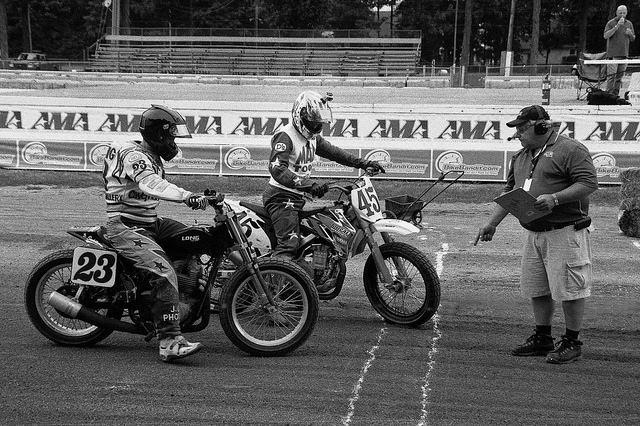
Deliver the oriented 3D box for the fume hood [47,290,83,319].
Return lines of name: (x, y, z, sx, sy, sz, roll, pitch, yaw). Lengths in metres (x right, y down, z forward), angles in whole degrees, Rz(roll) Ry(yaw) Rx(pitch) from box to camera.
fume hood: (-5.703, 2.175, 27.361, 1.026, 0.351, 0.309, 37, 8, -34)

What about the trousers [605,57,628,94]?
trousers: (9.943, -4.539, 40.934, 0.662, 0.950, 0.500, 2, 9, 9)

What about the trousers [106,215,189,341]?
trousers: (-3.854, 1.451, 27.247, 1.584, 2.746, 0.782, 2, 9, 9)
